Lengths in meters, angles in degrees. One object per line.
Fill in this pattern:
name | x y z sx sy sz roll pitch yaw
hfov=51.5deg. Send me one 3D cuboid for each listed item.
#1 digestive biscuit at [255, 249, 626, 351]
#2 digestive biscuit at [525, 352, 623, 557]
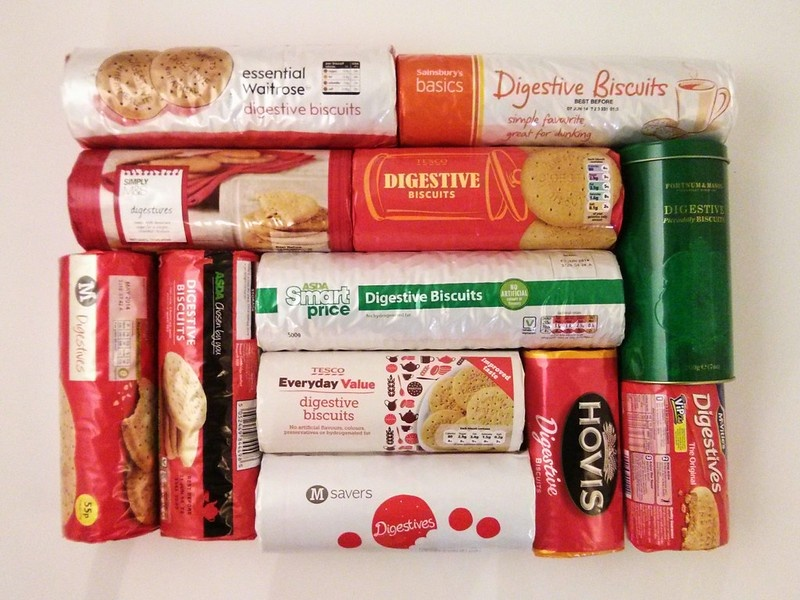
digestive biscuit | 0.086 0.032 2.356 1.152 0.356 0.352 1 -9 3
digestive biscuit | 0.467 0.406 2.239 0.243 0.544 0.174 -3 11 11
